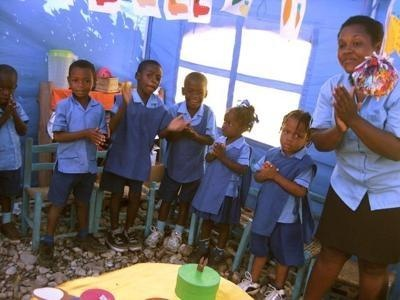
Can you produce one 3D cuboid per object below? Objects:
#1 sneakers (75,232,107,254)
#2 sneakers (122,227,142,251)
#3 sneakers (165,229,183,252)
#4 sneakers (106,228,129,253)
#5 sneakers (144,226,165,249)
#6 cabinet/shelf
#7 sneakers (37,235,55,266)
[{"bbox_3d":[-1.069,0.904,2.941,0.358,0.153,0.150,16,8,9],"label":"sneakers"},{"bbox_3d":[-0.700,0.911,3.086,0.113,0.132,0.297,2,17,-31],"label":"sneakers"},{"bbox_3d":[-0.267,0.934,3.054,0.125,0.113,0.262,28,16,-9],"label":"sneakers"},{"bbox_3d":[-0.838,0.890,2.959,0.121,0.138,0.315,5,11,-41],"label":"sneakers"},{"bbox_3d":[-0.490,0.912,3.103,0.111,0.116,0.255,31,14,9],"label":"sneakers"},{"bbox_3d":[-1.137,0.009,2.768,0.586,0.991,0.327,1,5,-41],"label":"cabinet/shelf"},{"bbox_3d":[-1.397,0.886,2.690,0.114,0.141,0.314,14,24,-40],"label":"sneakers"}]
